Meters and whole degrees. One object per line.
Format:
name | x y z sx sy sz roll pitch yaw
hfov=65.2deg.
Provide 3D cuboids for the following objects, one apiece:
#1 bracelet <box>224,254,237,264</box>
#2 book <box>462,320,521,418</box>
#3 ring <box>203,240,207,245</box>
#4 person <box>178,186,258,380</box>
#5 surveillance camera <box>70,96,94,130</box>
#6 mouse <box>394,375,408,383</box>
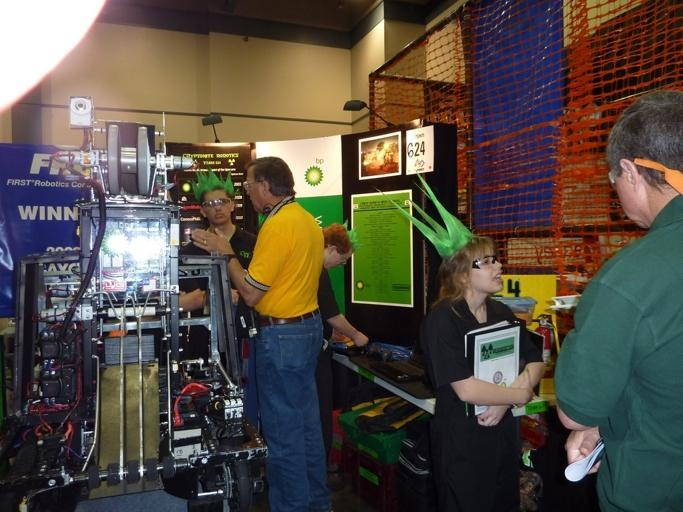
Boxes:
bracelet | -0.573 -0.026 2.781 0.054 0.054 0.054 1 -3 -10
book | 0.631 0.475 2.272 0.426 0.480 0.069 -6 5 -31
ring | -0.677 -0.114 2.659 0.020 0.020 0.007 2 4 29
person | -0.803 0.146 3.716 0.614 1.505 0.452 -5 13 -9
surveillance camera | -1.067 -0.664 2.197 0.085 0.145 0.067 -3 5 -25
mouse | 0.328 0.662 2.917 0.067 0.022 0.076 -3 5 -20
